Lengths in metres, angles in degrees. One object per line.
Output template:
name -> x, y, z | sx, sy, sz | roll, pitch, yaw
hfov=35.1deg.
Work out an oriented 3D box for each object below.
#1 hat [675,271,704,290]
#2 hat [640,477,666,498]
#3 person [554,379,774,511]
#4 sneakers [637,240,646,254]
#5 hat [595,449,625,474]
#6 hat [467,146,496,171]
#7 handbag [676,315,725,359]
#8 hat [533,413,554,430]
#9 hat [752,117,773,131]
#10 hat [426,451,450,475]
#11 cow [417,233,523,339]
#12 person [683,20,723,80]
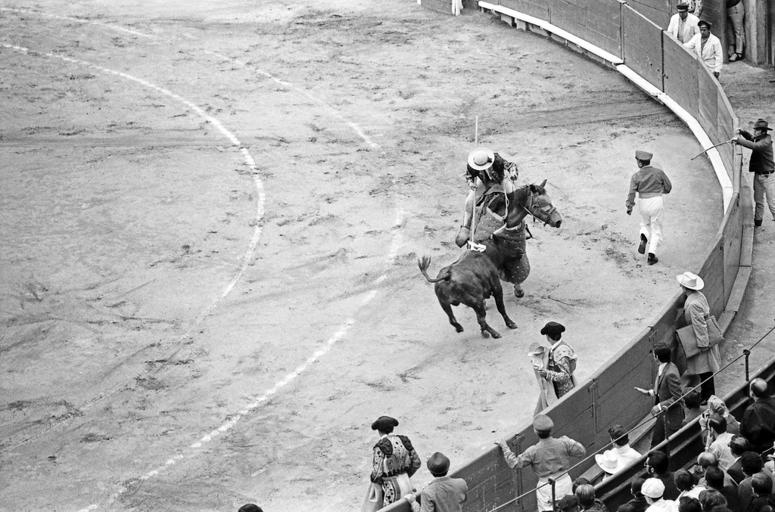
hat -> 5.794, 0.518, 23.589 | 0.456, 0.134, 0.436 | -19, 39, -28
hat -> 4.284, 3.726, 19.811 | 0.378, 0.277, 0.270 | -8, -3, 6
person -> 4.743, 3.275, 21.053 | 3.049, 0.555, 0.455 | -25, 39, -26
sneakers -> 5.728, -0.214, 27.589 | 0.165, 0.304, 0.141 | 15, -8, 0
hat -> 3.842, 3.539, 21.235 | 0.567, 0.393, 0.141 | -6, -17, 3
hat -> 2.025, -2.056, 26.167 | 0.589, 0.398, 0.258 | -7, -3, 3
handbag -> 5.979, 1.568, 23.608 | 0.861, 0.804, 0.327 | -20, 16, 9
hat -> 2.681, 2.853, 21.128 | 0.307, 0.241, 0.197 | -7, -3, -2
hat -> 8.334, -2.879, 27.284 | 0.275, 0.276, 0.453 | -9, -4, 9
hat -> 0.858, 3.406, 20.315 | 0.383, 0.381, 0.134 | -7, -23, 0
cow -> 1.751, 0.693, 25.772 | 1.908, 1.787, 0.804 | -5, -6, -45
person -> 8.390, -5.389, 32.334 | 0.537, 1.416, 0.752 | -7, -5, -45
